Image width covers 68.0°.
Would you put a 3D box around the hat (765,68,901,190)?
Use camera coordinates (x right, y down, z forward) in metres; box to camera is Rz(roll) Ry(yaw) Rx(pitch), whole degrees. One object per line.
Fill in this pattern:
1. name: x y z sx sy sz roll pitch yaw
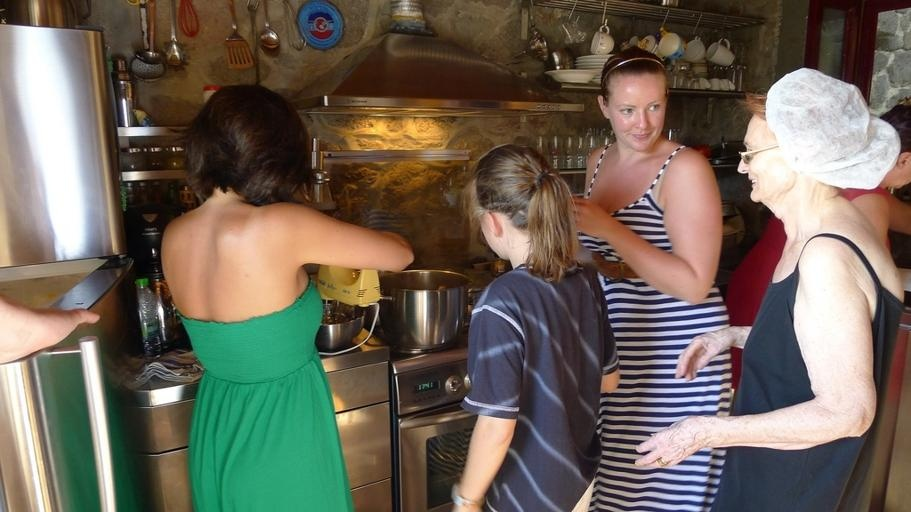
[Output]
1. hat: 1.193 -0.403 2.139 0.398 0.378 0.139 0 10 15

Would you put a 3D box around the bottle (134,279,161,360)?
1. bottle: -1.370 0.291 3.031 0.087 0.316 0.045 -7 11 -23

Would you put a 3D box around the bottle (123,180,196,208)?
1. bottle: -1.448 -0.295 3.292 0.170 0.138 0.089 -5 7 -38

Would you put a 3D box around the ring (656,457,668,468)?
1. ring: 0.659 0.665 2.176 0.009 0.032 0.035 -19 -8 11

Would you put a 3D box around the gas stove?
1. gas stove: -0.194 0.619 3.324 0.365 0.263 0.501 -3 -1 41

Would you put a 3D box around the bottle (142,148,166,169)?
1. bottle: -1.513 -0.480 3.368 0.124 0.100 0.028 5 11 2

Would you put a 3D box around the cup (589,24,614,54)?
1. cup: 0.880 -1.294 4.117 0.151 0.190 0.158 -5 23 2

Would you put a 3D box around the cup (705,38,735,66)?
1. cup: 1.822 -1.365 4.660 0.171 0.213 0.141 -1 4 2

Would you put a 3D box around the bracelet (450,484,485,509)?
1. bracelet: 0.047 0.823 2.311 0.133 0.054 0.145 1 -1 2

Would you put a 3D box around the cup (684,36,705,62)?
1. cup: 1.613 -1.363 4.527 0.139 0.161 0.070 12 1 43

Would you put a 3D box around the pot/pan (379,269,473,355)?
1. pot/pan: -0.151 0.229 3.219 0.484 0.257 0.402 0 2 -19

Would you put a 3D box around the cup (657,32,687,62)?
1. cup: 1.368 -1.331 4.377 0.130 0.165 0.181 18 -11 -40
